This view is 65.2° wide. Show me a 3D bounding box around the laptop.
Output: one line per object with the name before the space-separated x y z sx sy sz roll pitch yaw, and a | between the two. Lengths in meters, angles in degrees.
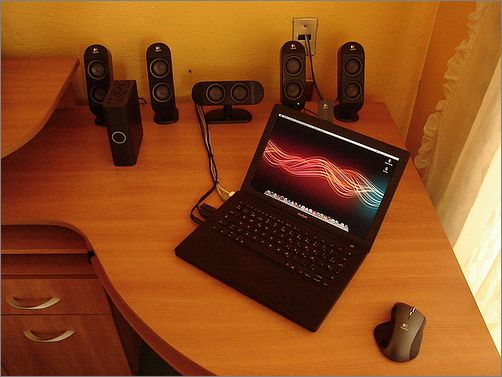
laptop | 0.142 0.118 1.146 0.538 0.257 0.638 27 52 23

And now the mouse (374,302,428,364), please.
mouse | 0.344 0.329 0.896 0.104 0.066 0.122 28 43 31
